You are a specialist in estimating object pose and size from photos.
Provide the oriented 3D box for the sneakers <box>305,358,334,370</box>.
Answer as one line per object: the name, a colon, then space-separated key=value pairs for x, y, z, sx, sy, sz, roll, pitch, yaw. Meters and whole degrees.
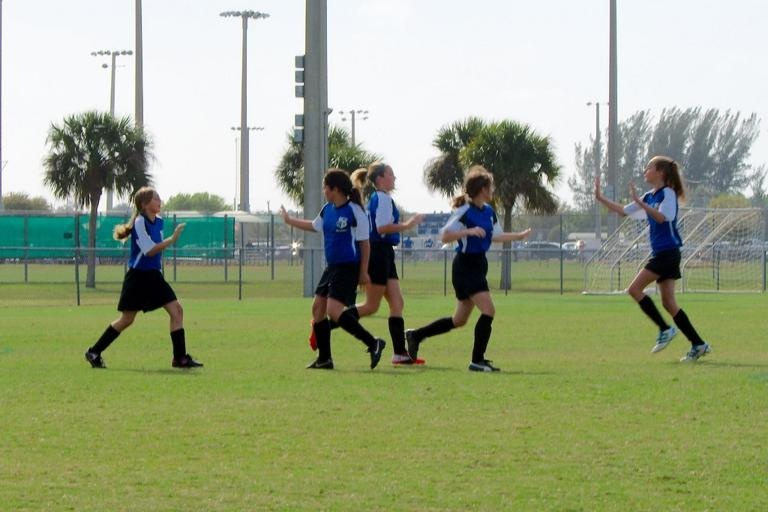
sneakers: x=-0.823 y=1.268 z=12.209 sx=0.349 sy=0.149 sz=0.120 roll=3 pitch=-1 yaw=6

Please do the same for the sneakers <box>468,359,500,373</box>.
sneakers: x=1.120 y=1.281 z=11.994 sx=0.387 sy=0.166 sz=0.136 roll=2 pitch=-4 yaw=3

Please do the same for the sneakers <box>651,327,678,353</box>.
sneakers: x=3.706 y=1.120 z=13.644 sx=0.149 sy=0.348 sz=0.120 roll=30 pitch=30 yaw=-12

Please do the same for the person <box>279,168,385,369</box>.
person: x=-0.633 y=0.166 z=12.221 sx=0.996 sy=2.334 sz=0.859 roll=-1 pitch=2 yaw=-7

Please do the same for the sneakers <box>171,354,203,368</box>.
sneakers: x=-2.438 y=1.236 z=12.260 sx=0.389 sy=0.179 sz=0.148 roll=0 pitch=2 yaw=-7
